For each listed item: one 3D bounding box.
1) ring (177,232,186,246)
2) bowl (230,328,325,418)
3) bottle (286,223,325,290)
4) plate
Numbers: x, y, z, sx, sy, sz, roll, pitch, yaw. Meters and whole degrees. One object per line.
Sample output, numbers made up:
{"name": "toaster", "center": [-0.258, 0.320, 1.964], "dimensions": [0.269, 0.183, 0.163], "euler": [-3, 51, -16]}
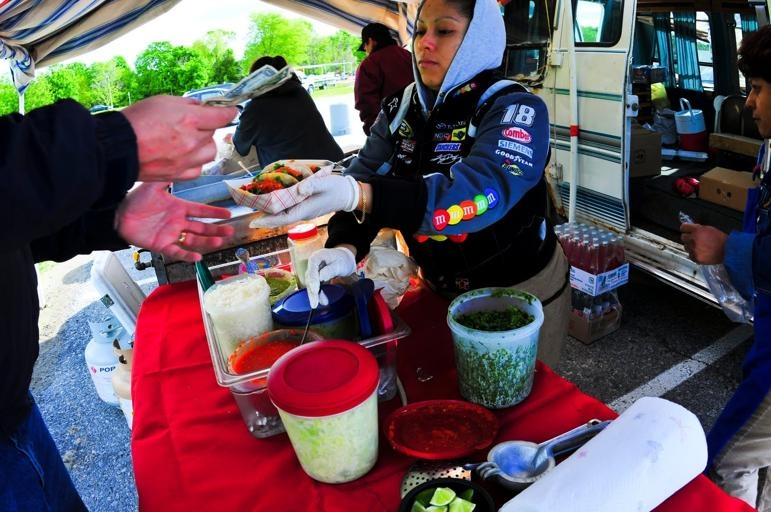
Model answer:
{"name": "ring", "center": [-0.894, -0.072, 2.051], "dimensions": [0.031, 0.037, 0.037], "euler": [34, 93, 46]}
{"name": "bowl", "center": [-0.412, 0.473, 1.852], "dimensions": [0.326, 0.236, 0.332], "euler": [-17, 25, 8]}
{"name": "bottle", "center": [-0.386, 0.010, 2.262], "dimensions": [0.186, 0.349, 0.189], "euler": [-1, 27, 1]}
{"name": "plate", "center": [0.206, 0.628, 1.685], "dimensions": [0.403, 0.054, 0.223], "euler": [-4, 30, 5]}
